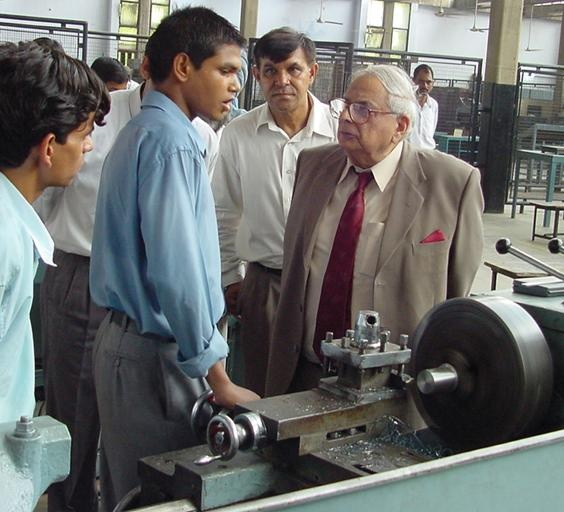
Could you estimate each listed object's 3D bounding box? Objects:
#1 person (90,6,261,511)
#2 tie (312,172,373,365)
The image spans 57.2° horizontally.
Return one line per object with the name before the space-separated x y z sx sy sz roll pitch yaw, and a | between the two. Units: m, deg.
person | -0.368 0.038 1.620 0.564 1.638 0.411 -2 0 -1
tie | 0.238 0.032 1.929 0.249 0.667 0.128 -2 0 -26
